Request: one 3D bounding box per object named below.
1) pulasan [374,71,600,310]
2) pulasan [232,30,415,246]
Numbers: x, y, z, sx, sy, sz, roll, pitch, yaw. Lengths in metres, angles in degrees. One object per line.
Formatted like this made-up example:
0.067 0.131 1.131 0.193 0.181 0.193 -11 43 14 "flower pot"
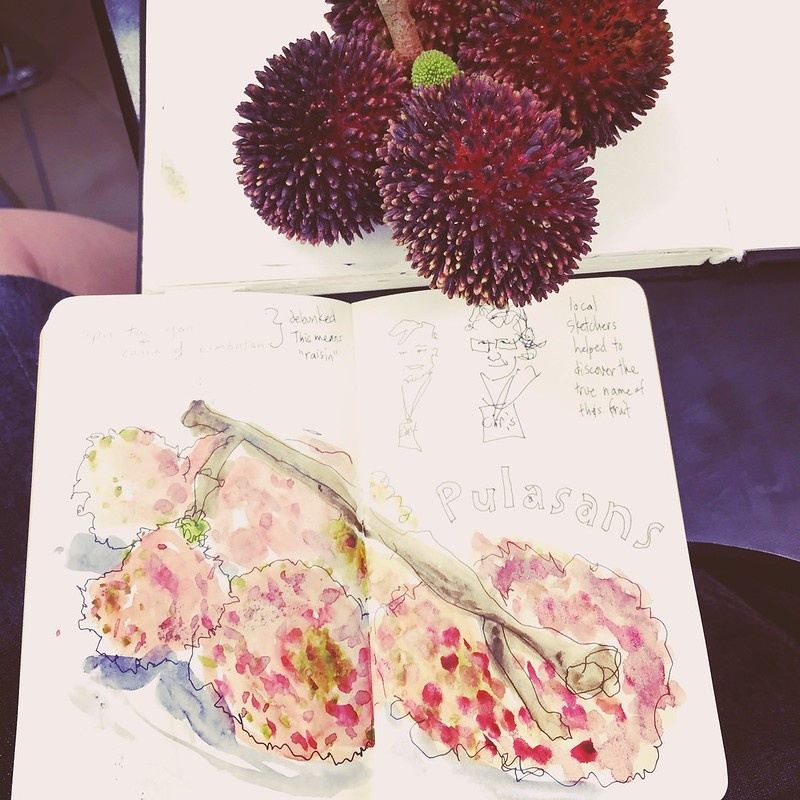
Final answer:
0.062 -0.137 0.520 0.134 0.106 0.094 26 59 -27 "pulasan"
-0.047 -0.172 0.563 0.114 0.093 0.135 -5 99 2 "pulasan"
